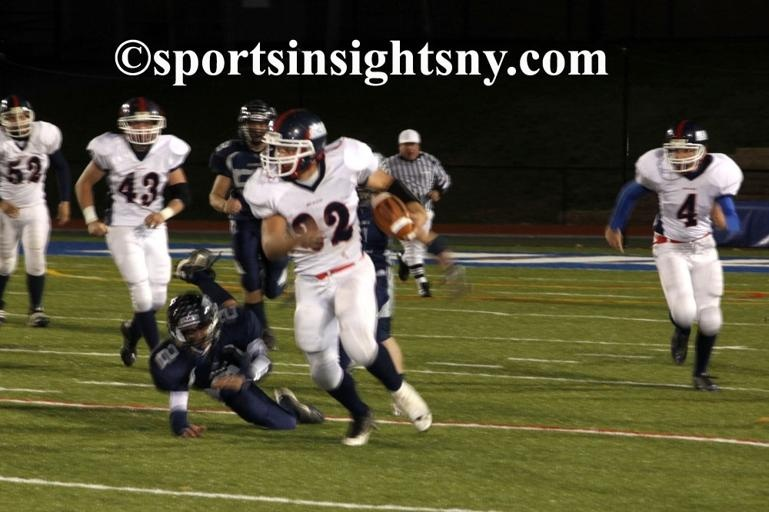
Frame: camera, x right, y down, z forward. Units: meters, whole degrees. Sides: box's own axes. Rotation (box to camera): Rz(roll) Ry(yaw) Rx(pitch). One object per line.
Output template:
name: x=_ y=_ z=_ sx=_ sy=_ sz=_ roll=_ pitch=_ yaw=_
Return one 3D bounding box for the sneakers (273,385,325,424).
sneakers: x=-0.643 y=1.153 z=6.949 sx=0.374 sy=0.143 sz=0.217 roll=33 pitch=-1 yaw=-17

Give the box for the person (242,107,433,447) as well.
person: x=-0.373 y=0.183 z=6.481 sx=1.202 sy=2.358 sz=0.546 roll=0 pitch=11 yaw=-3

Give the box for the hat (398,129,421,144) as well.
hat: x=0.317 y=-1.556 z=11.979 sx=0.343 sy=0.219 sz=0.483 roll=-1 pitch=-4 yaw=6

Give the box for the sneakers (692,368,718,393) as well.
sneakers: x=2.723 y=1.078 z=7.840 sx=0.131 sy=0.088 sz=0.234 roll=-1 pitch=-2 yaw=-4

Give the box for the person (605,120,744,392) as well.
person: x=2.610 y=-0.039 z=8.092 sx=1.094 sy=2.248 sz=0.705 roll=11 pitch=15 yaw=42

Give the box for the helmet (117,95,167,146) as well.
helmet: x=-2.167 y=-1.168 z=8.186 sx=0.429 sy=0.333 sz=0.481 roll=-3 pitch=0 yaw=-38

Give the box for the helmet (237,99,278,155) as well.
helmet: x=-1.169 y=-1.221 z=8.531 sx=0.442 sy=0.406 sz=0.474 roll=1 pitch=14 yaw=-7

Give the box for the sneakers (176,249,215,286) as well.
sneakers: x=-1.611 y=0.019 z=7.922 sx=0.217 sy=0.138 sz=0.291 roll=11 pitch=41 yaw=-5

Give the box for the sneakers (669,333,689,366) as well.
sneakers: x=2.728 y=0.854 z=8.521 sx=0.143 sy=0.335 sz=0.162 roll=3 pitch=21 yaw=21

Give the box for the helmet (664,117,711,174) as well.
helmet: x=2.596 y=-0.929 z=7.961 sx=0.368 sy=0.444 sz=0.284 roll=3 pitch=11 yaw=13

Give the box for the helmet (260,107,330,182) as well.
helmet: x=-0.644 y=-0.767 z=6.404 sx=0.443 sy=0.474 sz=0.355 roll=1 pitch=11 yaw=1

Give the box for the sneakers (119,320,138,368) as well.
sneakers: x=-2.325 y=0.791 z=8.360 sx=0.190 sy=0.440 sz=0.226 roll=-4 pitch=20 yaw=-17

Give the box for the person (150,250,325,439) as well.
person: x=-1.246 y=1.005 z=6.887 sx=1.124 sy=0.651 sz=1.742 roll=-14 pitch=-28 yaw=4

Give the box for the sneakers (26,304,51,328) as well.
sneakers: x=-3.695 y=0.664 z=9.831 sx=0.148 sy=0.125 sz=0.309 roll=2 pitch=-1 yaw=-37

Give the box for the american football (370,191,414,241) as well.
american football: x=0.063 y=-0.270 z=6.524 sx=0.244 sy=0.359 sz=0.131 roll=-42 pitch=-10 yaw=9
